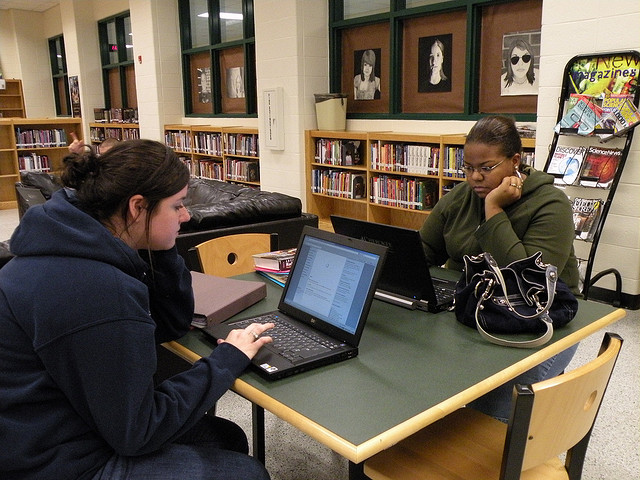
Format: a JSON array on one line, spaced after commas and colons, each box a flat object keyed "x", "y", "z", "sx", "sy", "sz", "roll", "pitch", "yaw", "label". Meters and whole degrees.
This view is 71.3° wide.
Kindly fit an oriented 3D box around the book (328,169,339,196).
[{"x": 0.154, "y": -0.680, "z": 5.324, "sx": 0.042, "sy": 0.304, "sz": 0.269, "roll": 6, "pitch": 11, "yaw": 26, "label": "book"}]

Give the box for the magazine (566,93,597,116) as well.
[{"x": 1.964, "y": -1.013, "z": 3.341, "sx": 0.019, "sy": 0.180, "sz": 0.180, "roll": -1, "pitch": 10, "yaw": -37, "label": "magazine"}]

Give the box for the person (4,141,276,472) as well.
[{"x": -0.461, "y": 0.212, "z": 1.147, "sx": 0.598, "sy": 0.884, "sz": 0.396, "roll": -3, "pitch": 18, "yaw": -9, "label": "person"}]

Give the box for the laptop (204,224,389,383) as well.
[{"x": -0.095, "y": 0.163, "z": 1.367, "sx": 0.393, "sy": 0.311, "sz": 0.445, "roll": -7, "pitch": 12, "yaw": -33, "label": "laptop"}]

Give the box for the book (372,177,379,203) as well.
[{"x": 0.605, "y": -0.558, "z": 4.916, "sx": 0.035, "sy": 0.335, "sz": 0.256, "roll": 1, "pitch": 7, "yaw": 17, "label": "book"}]

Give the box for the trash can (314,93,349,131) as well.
[{"x": 0.134, "y": -1.508, "z": 5.343, "sx": 0.457, "sy": 0.452, "sz": 0.448, "roll": -5, "pitch": 7, "yaw": -42, "label": "trash can"}]

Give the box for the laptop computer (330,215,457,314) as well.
[{"x": 0.330, "y": 0.045, "z": 1.771, "sx": 0.425, "sy": 0.324, "sz": 0.485, "roll": -10, "pitch": 18, "yaw": -28, "label": "laptop computer"}]

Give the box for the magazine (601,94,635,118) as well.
[{"x": 2.144, "y": -0.961, "z": 3.196, "sx": 0.030, "sy": 0.215, "sz": 0.184, "roll": 2, "pitch": -8, "yaw": -38, "label": "magazine"}]

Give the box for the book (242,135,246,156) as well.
[{"x": -1.125, "y": -1.382, "z": 6.532, "sx": 0.047, "sy": 0.200, "sz": 0.199, "roll": 2, "pitch": 5, "yaw": -6, "label": "book"}]

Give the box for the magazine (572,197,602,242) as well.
[{"x": 2.013, "y": -0.160, "z": 3.394, "sx": 0.196, "sy": 0.292, "sz": 0.279, "roll": 10, "pitch": 20, "yaw": 29, "label": "magazine"}]
